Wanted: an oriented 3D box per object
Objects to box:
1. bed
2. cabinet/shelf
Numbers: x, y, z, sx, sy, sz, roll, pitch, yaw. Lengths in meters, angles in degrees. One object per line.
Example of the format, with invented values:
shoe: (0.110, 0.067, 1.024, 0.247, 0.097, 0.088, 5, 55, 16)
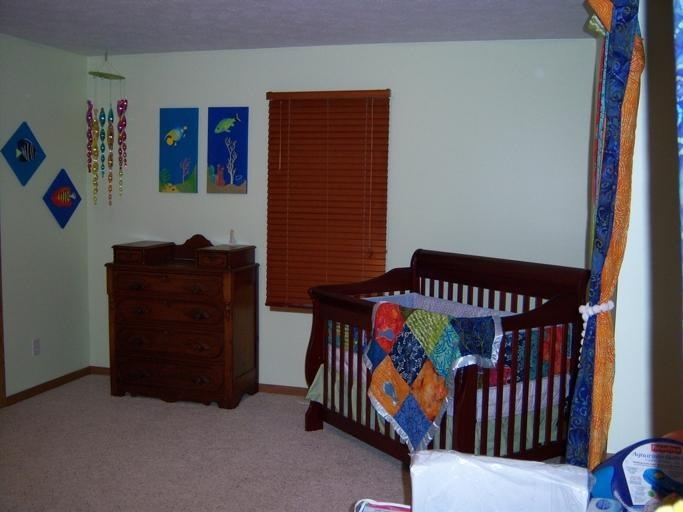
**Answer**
bed: (0.606, 0.538, 4.004, 1.200, 1.172, 1.540, -3, 7, -34)
cabinet/shelf: (-1.223, 0.560, 4.616, 1.211, 1.470, 0.655, 1, 3, 11)
